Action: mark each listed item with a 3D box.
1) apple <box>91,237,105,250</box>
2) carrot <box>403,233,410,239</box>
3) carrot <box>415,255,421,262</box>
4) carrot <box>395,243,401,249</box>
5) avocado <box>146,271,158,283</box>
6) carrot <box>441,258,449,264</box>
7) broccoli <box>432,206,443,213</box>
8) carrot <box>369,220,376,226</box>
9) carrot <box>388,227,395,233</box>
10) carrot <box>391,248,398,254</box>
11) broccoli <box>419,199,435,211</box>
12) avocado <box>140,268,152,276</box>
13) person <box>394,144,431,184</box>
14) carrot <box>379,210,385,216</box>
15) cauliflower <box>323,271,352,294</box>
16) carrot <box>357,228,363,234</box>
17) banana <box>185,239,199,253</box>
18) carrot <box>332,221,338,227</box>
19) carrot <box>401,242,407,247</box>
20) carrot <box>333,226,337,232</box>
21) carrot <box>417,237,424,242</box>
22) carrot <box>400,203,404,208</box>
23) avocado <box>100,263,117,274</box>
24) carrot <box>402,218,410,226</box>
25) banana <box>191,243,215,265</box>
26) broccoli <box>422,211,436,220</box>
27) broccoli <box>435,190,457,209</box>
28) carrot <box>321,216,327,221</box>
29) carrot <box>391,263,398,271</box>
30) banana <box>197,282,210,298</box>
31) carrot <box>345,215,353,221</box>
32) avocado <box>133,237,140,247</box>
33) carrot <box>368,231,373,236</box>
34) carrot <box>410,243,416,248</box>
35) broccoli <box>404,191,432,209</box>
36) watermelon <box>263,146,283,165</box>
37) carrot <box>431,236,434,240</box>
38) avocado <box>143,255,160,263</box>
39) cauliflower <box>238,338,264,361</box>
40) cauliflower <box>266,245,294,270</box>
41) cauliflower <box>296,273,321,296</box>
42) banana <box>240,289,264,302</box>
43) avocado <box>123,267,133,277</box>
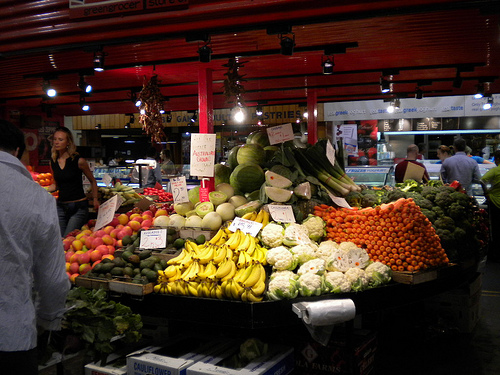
[{"bbox_3d":[-1.489,0.535,3.597,0.104,0.128,0.106,-18,41,-15],"label":"apple"},{"bbox_3d":[1.285,0.398,3.028,0.037,0.020,0.038,-4,3,-11],"label":"carrot"},{"bbox_3d":[1.367,0.580,3.006,0.043,0.035,0.024,36,-1,16],"label":"carrot"},{"bbox_3d":[1.208,0.479,3.028,0.037,0.039,0.037,-5,-10,27],"label":"carrot"},{"bbox_3d":[-0.790,0.728,2.990,0.064,0.069,0.087,-1,0,-7],"label":"avocado"},{"bbox_3d":[1.695,0.643,3.222,0.049,0.027,0.064,-15,-11,-10],"label":"carrot"},{"bbox_3d":[1.852,0.218,3.658,0.051,0.044,0.072,-6,7,9],"label":"broccoli"},{"bbox_3d":[1.055,0.306,3.176,0.043,0.045,0.014,-3,-9,20],"label":"carrot"},{"bbox_3d":[1.178,0.357,3.078,0.036,0.037,0.037,-11,-9,6],"label":"carrot"},{"bbox_3d":[1.183,0.524,3.030,0.034,0.035,0.035,-1,-1,22],"label":"carrot"},{"bbox_3d":[1.752,0.158,3.690,0.102,0.063,0.106,-11,28,8],"label":"broccoli"},{"bbox_3d":[-0.864,0.704,3.039,0.054,0.033,0.055,4,9,32],"label":"avocado"},{"bbox_3d":[2.909,-0.425,6.686,0.539,0.695,1.040,-2,4,21],"label":"person"},{"bbox_3d":[1.124,0.216,3.143,0.040,0.023,0.040,-3,12,13],"label":"carrot"},{"bbox_3d":[0.668,0.717,2.806,0.140,0.092,0.167,5,-8,-42],"label":"cauliflower"},{"bbox_3d":[0.958,0.382,3.223,0.043,0.049,0.020,0,5,41],"label":"carrot"},{"bbox_3d":[-0.515,0.517,3.230,0.062,0.041,0.122,-35,35,1],"label":"banana"},{"bbox_3d":[0.776,0.336,3.384,0.039,0.046,0.039,-11,13,-35],"label":"carrot"},{"bbox_3d":[1.256,0.469,3.019,0.032,0.033,0.033,-22,45,-5],"label":"carrot"},{"bbox_3d":[0.777,0.384,3.368,0.045,0.047,0.021,-1,4,31],"label":"carrot"},{"bbox_3d":[1.401,0.430,3.033,0.032,0.033,0.033,1,-1,15],"label":"carrot"},{"bbox_3d":[1.262,0.146,3.067,0.026,0.027,0.014,-2,4,22],"label":"carrot"},{"bbox_3d":[-1.201,0.688,3.152,0.114,0.070,0.065,-19,4,-12],"label":"avocado"},{"bbox_3d":[1.278,0.287,3.033,0.049,0.063,0.051,0,9,8],"label":"carrot"},{"bbox_3d":[-0.370,0.577,3.058,0.104,0.075,0.207,18,30,13],"label":"banana"},{"bbox_3d":[1.740,0.269,3.607,0.095,0.066,0.128,-1,-1,-16],"label":"broccoli"},{"bbox_3d":[1.940,0.118,3.682,0.146,0.100,0.180,-23,-4,15],"label":"broccoli"},{"bbox_3d":[0.696,0.295,3.464,0.041,0.029,0.050,4,1,-6],"label":"carrot"},{"bbox_3d":[1.172,0.654,3.027,0.043,0.060,0.043,-14,-14,-36],"label":"carrot"},{"bbox_3d":[-0.354,0.785,2.860,0.080,0.119,0.060,-19,-14,18],"label":"banana"},{"bbox_3d":[0.896,0.276,3.340,0.042,0.030,0.052,-3,1,7],"label":"carrot"},{"bbox_3d":[-1.089,0.532,3.561,0.063,0.074,0.085,-5,4,-18],"label":"avocado"},{"bbox_3d":[1.032,0.396,3.162,0.032,0.034,0.009,-4,-11,21],"label":"carrot"},{"bbox_3d":[1.326,0.475,3.016,0.036,0.034,0.015,-2,4,27],"label":"carrot"},{"bbox_3d":[1.704,0.171,3.748,0.241,0.069,0.243,9,17,-32],"label":"broccoli"},{"bbox_3d":[0.264,-0.360,4.132,0.196,0.219,0.416,-3,4,2],"label":"watermelon"},{"bbox_3d":[1.531,0.427,3.104,0.043,0.033,0.009,-7,5,-44],"label":"carrot"},{"bbox_3d":[-0.834,0.620,3.207,0.077,0.047,0.056,-3,-4,32],"label":"avocado"},{"bbox_3d":[0.009,1.262,2.864,0.119,0.069,0.148,0,9,-9],"label":"cauliflower"},{"bbox_3d":[0.235,0.570,2.970,0.214,0.158,0.131,-1,4,32],"label":"cauliflower"},{"bbox_3d":[0.438,0.718,2.746,0.131,0.125,0.158,-11,-7,44],"label":"cauliflower"},{"bbox_3d":[0.020,0.789,2.675,0.120,0.073,0.074,16,21,-18],"label":"banana"},{"bbox_3d":[-1.016,0.710,3.097,0.101,0.067,0.054,-1,4,36],"label":"avocado"}]
